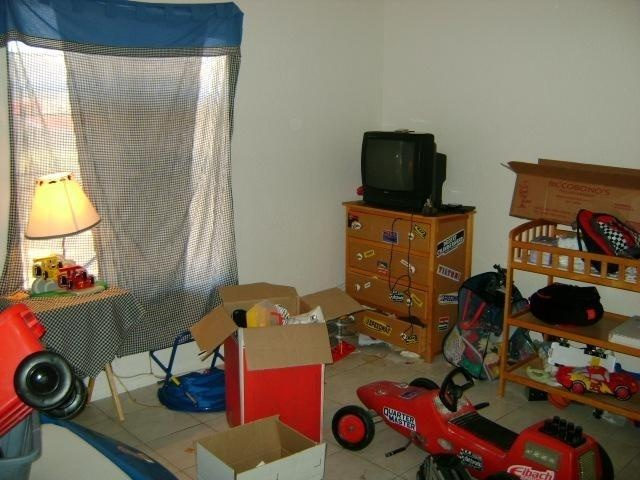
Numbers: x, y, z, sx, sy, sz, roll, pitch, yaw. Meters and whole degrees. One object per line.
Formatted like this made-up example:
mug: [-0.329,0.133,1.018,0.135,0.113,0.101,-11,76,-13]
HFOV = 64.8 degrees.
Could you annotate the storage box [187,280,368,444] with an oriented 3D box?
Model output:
storage box: [-0.249,0.551,2.956,0.909,0.615,0.856,-2,9,-28]

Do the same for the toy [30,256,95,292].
toy: [-1.530,0.200,2.959,0.310,0.139,0.178,7,9,42]

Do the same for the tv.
tv: [0.623,-0.510,4.183,0.638,0.765,0.832,-11,15,-43]

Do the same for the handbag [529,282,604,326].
handbag: [1.542,0.415,3.167,0.318,0.147,0.294,1,6,20]

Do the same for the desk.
desk: [-1.505,0.600,3.166,0.757,0.697,0.756,0,2,35]

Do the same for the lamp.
lamp: [-1.536,-0.036,3.028,0.434,0.652,0.415,-11,14,-36]

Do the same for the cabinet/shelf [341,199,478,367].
cabinet/shelf: [0.681,0.287,4.210,0.738,1.125,0.988,-14,17,-37]
